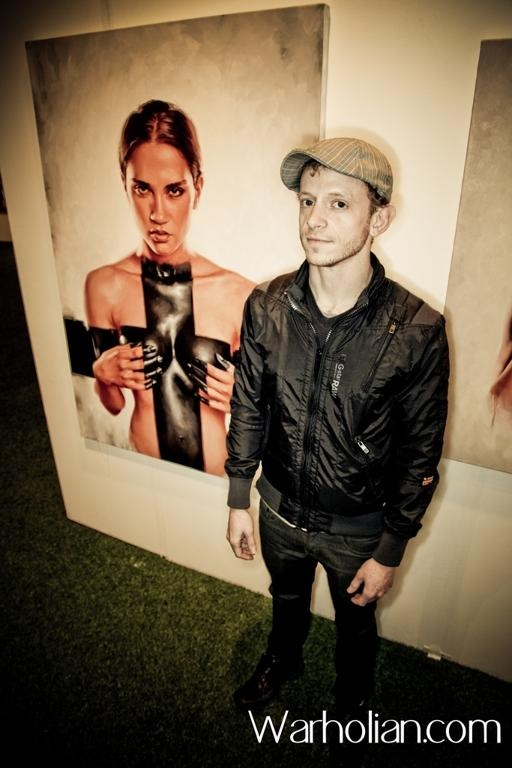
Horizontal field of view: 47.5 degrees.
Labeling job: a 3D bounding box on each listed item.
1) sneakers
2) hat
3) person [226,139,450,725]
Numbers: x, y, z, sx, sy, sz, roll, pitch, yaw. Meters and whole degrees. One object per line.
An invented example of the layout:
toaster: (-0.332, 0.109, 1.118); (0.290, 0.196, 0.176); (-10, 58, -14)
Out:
sneakers: (0.051, 0.903, 1.881); (0.275, 0.119, 0.101); (-28, 29, -34)
hat: (0.172, -0.481, 1.315); (0.181, 0.133, 0.240); (-13, 30, -29)
person: (0.180, 0.235, 1.541); (0.565, 1.619, 0.297); (11, 26, 20)
